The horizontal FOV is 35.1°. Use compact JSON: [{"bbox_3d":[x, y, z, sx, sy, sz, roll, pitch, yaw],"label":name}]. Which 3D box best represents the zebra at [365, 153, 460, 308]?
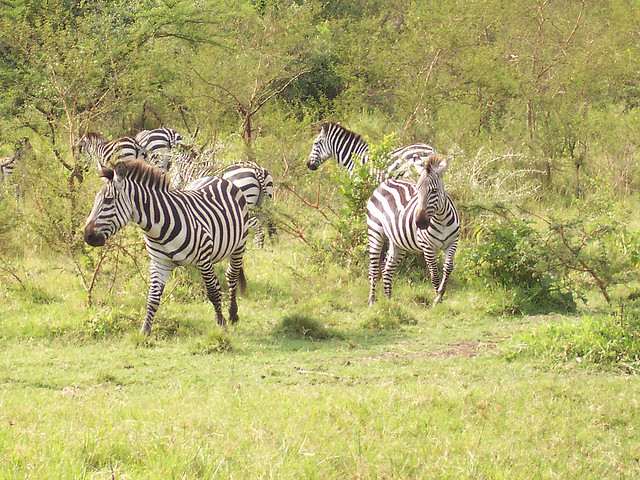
[{"bbox_3d":[2.034,-0.183,21.110,1.253,3.116,2.016,5,-3,-30],"label":"zebra"}]

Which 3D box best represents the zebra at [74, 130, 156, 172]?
[{"bbox_3d":[-5.214,-2.128,25.113,2.037,1.331,0.548,3,7,14],"label":"zebra"}]

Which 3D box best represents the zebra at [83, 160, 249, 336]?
[{"bbox_3d":[-2.746,0.183,19.034,0.944,3.249,3.365,1,-4,43],"label":"zebra"}]
